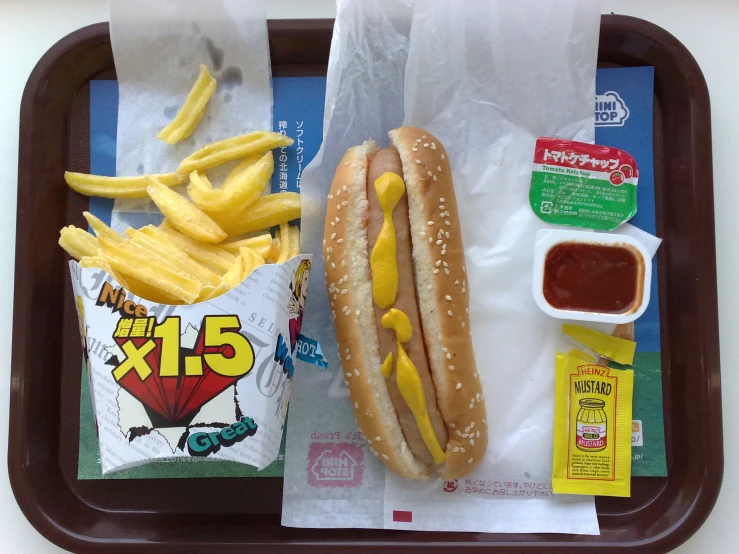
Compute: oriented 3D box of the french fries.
[{"bbox_3d":[-0.551,-0.204,2.394,0.696,0.120,0.842,-4,72,5],"label":"french fries"}]
